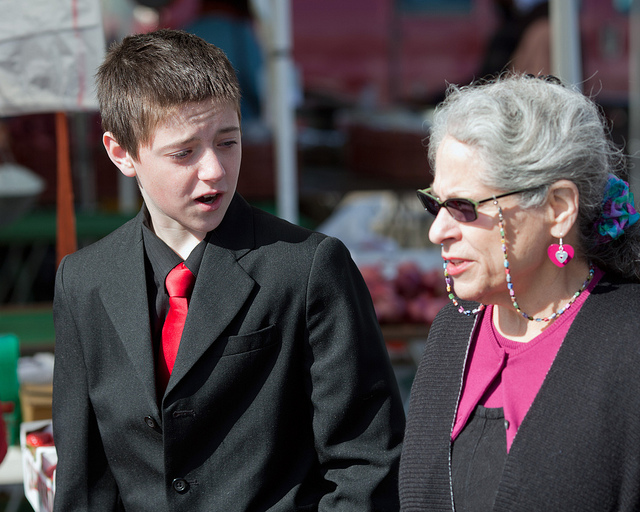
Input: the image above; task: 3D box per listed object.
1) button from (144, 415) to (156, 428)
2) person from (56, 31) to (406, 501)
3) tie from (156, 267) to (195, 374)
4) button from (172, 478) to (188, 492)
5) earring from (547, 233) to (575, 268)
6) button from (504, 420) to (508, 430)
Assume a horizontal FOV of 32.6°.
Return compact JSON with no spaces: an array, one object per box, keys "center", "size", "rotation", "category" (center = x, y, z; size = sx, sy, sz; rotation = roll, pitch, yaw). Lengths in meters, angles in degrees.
[{"center":[-0.572,0.554,3.669],"size":[0.043,0.041,0.009],"rotation":[4,11,27],"category":"button"},{"center":[-0.333,0.052,3.729],"size":[1.217,1.607,0.462],"rotation":[-1,10,6],"category":"person"},{"center":[-0.488,0.192,3.775],"size":[0.100,0.401,0.100],"rotation":[12,-11,1],"category":"tie"},{"center":[-0.468,0.763,3.648],"size":[0.041,0.044,0.010],"rotation":[4,8,0],"category":"button"},{"center":[0.744,-0.020,3.400],"size":[0.096,0.140,0.027],"rotation":[-1,-6,4],"category":"earring"},{"center":[0.581,0.525,3.422],"size":[0.007,0.021,0.015],"rotation":[2,5,-5],"category":"button"}]
